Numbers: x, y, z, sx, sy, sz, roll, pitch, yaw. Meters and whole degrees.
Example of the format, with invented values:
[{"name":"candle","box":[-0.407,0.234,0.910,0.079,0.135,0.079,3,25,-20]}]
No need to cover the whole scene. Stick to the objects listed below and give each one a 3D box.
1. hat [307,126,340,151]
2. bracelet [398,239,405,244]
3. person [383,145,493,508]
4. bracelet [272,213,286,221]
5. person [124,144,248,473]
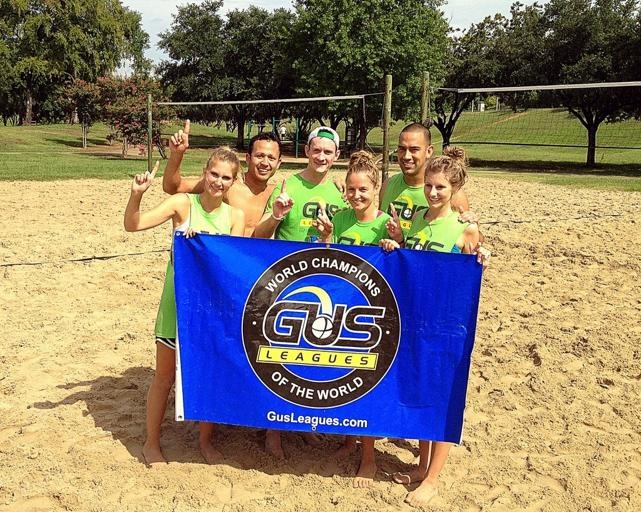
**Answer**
[{"name":"hat","box":[0.019,-0.981,5.638,0.263,0.180,0.429,1,14,-2]},{"name":"bracelet","box":[0.637,-0.120,5.376,0.035,0.049,0.048,1,4,13]},{"name":"person","box":[0.902,0.470,5.347,0.709,2.544,1.124,4,12,15]},{"name":"bracelet","box":[-0.337,-0.308,5.321,0.079,0.062,0.145,-3,14,-18]},{"name":"person","box":[-1.044,0.380,5.350,0.903,2.409,0.535,-3,12,-18]}]
